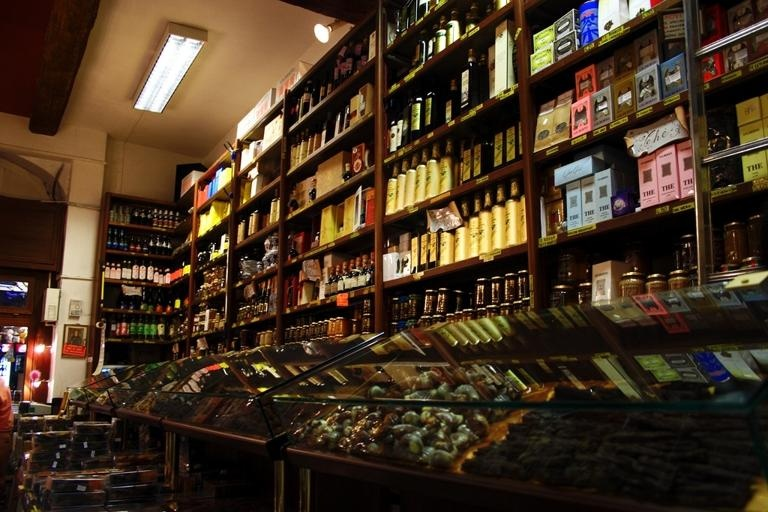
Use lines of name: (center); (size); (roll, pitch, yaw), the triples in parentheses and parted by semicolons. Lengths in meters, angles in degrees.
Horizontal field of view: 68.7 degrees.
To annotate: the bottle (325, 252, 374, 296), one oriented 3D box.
bottle: (-0.262, 0.148, 4.359); (0.259, 0.351, 0.339); (-4, -1, -40)
